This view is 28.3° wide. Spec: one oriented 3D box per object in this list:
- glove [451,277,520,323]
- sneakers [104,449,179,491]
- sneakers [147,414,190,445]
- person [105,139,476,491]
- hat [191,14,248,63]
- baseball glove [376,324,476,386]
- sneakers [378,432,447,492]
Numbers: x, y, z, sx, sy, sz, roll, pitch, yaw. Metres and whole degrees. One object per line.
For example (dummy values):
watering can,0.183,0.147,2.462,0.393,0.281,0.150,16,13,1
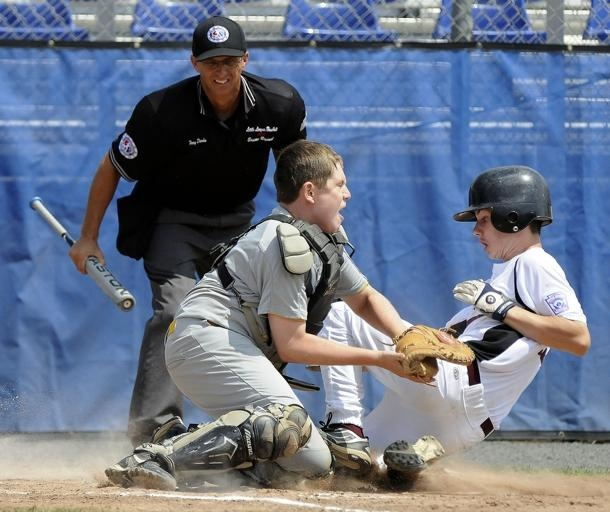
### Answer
glove,0.930,0.227,6.218,0.310,0.159,0.094,29,-17,20
sneakers,-0.755,0.995,5.602,0.316,0.185,0.151,4,17,18
sneakers,-0.674,0.857,6.035,0.211,0.069,0.113,-27,17,4
person,-0.145,0.269,5.851,1.663,1.555,0.714,-6,17,-15
hat,-0.449,-1.124,6.268,0.235,0.144,0.279,-1,15,0
baseball glove,0.596,0.454,5.840,0.338,0.134,0.301,21,14,42
sneakers,0.467,1.042,6.146,0.176,0.386,0.187,26,38,-45
